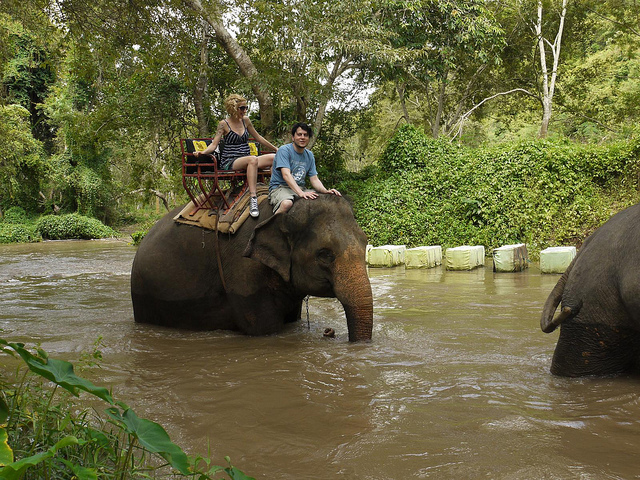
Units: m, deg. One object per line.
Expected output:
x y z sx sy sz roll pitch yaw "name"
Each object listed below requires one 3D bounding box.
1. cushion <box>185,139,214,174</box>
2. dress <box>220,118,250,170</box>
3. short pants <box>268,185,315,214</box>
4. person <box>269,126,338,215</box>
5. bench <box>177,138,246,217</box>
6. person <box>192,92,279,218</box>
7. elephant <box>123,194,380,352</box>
-1.482 -1.041 7.022 0.370 0.351 0.270 -7 35 -37 "cushion"
-1.056 -1.178 7.071 0.265 0.612 0.445 2 8 24 "dress"
-0.428 -0.464 6.412 0.230 0.292 0.387 -6 8 -32 "short pants"
-0.268 -0.795 6.474 0.637 0.948 0.770 -3 7 -9 "person"
-1.236 -0.599 7.084 0.541 0.767 0.570 -2 -15 30 "bench"
-0.977 -1.063 7.052 1.036 1.443 0.830 -4 4 8 "person"
-0.661 0.347 7.231 3.068 1.920 1.519 0 -1 23 "elephant"
